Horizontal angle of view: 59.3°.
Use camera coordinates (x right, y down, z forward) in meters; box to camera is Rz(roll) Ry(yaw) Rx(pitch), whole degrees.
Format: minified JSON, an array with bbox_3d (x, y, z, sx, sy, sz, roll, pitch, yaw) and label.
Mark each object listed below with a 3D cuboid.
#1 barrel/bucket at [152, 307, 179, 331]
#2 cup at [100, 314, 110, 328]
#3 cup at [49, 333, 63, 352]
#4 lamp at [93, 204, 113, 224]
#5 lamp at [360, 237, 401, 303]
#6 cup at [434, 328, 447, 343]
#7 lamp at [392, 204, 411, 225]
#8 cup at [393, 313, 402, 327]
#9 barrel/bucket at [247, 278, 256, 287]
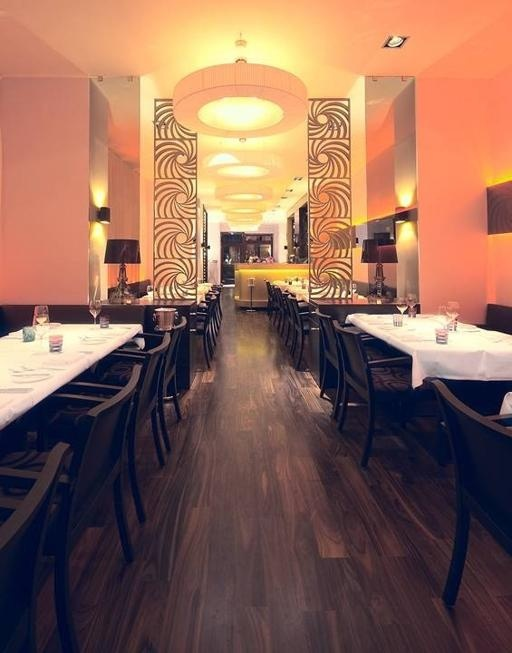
[{"bbox_3d":[-0.803,-0.061,3.954,0.213,0.335,0.245,0,1,-5],"label":"barrel/bucket"},{"bbox_3d":[-1.155,-0.043,3.422,0.064,0.116,0.077,1,1,-18],"label":"cup"},{"bbox_3d":[-1.098,0.090,2.462,0.066,0.126,0.089,4,5,4],"label":"cup"},{"bbox_3d":[-1.792,-1.257,5.212,0.120,0.272,0.219,0,9,-12],"label":"lamp"},{"bbox_3d":[1.471,-0.702,5.355,0.332,0.861,0.354,10,22,36],"label":"lamp"},{"bbox_3d":[1.122,0.060,2.707,0.060,0.119,0.075,0,-1,5],"label":"cup"},{"bbox_3d":[1.727,-1.321,5.325,0.048,0.207,0.322,-3,8,-17],"label":"lamp"},{"bbox_3d":[1.100,-0.054,3.503,0.060,0.132,0.084,0,8,11],"label":"cup"},{"bbox_3d":[-0.144,-1.237,12.753,0.204,0.255,0.119,-2,7,-4],"label":"barrel/bucket"}]
